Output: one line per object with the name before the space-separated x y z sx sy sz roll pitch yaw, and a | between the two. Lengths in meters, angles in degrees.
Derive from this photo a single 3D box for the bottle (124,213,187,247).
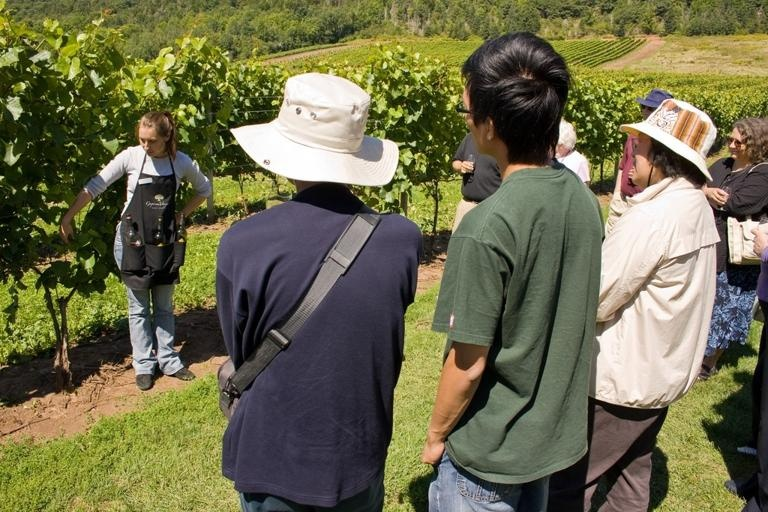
bottle | -2.300 -0.264 6.413 0.305 0.346 0.110 -1 17 -29

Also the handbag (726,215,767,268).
handbag | 3.528 -0.168 6.241 0.464 0.501 0.273 1 -4 -3

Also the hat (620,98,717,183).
hat | 2.145 -0.881 4.791 0.604 0.328 0.532 33 -6 -11

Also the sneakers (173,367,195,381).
sneakers | -2.116 1.225 6.834 0.213 0.093 0.114 -2 9 13

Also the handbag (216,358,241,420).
handbag | -1.033 0.850 4.221 0.116 0.346 0.231 8 10 -25

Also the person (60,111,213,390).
person | -2.416 -0.044 6.606 1.230 2.770 0.645 -3 10 -8
